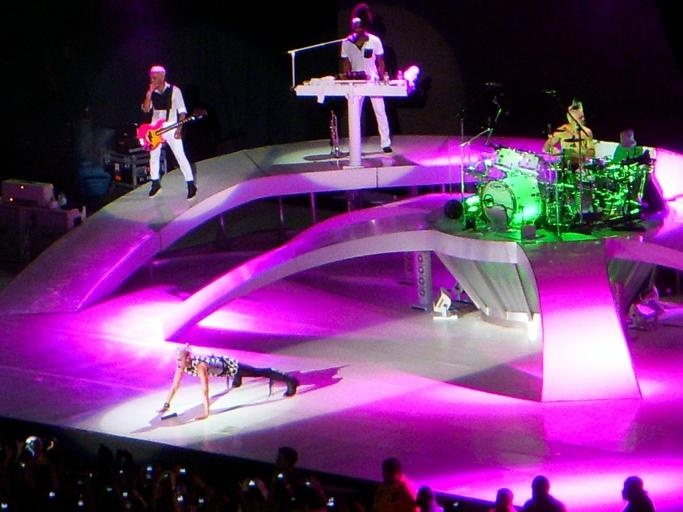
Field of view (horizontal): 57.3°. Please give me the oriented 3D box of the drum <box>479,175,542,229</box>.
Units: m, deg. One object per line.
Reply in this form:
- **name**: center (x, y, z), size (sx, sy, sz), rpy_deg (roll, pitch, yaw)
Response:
- **drum**: center (2.827, -0.956, 10.323), size (0.822, 0.931, 0.857), rpy_deg (14, 25, 36)

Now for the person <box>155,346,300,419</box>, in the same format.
- **person**: center (-1.510, 1.665, 8.697), size (1.609, 0.820, 0.905), rpy_deg (4, -6, -44)

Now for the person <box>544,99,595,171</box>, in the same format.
- **person**: center (3.978, -2.080, 10.842), size (0.787, 1.182, 0.663), rpy_deg (3, 27, 13)

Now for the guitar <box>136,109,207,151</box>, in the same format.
- **guitar**: center (-3.636, -2.687, 13.192), size (1.655, 0.630, 0.259), rpy_deg (-14, -1, -2)

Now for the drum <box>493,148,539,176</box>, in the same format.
- **drum**: center (2.905, -1.570, 10.322), size (0.545, 0.364, 0.440), rpy_deg (4, 14, 11)

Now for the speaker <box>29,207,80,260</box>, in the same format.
- **speaker**: center (-5.921, -0.469, 12.878), size (1.262, 0.885, 0.962), rpy_deg (-1, 13, 5)

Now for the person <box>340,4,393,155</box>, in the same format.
- **person**: center (0.654, -3.453, 13.142), size (0.852, 3.373, 0.816), rpy_deg (18, 28, 35)

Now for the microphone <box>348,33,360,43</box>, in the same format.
- **microphone**: center (0.274, -4.434, 12.662), size (0.191, 0.051, 0.188), rpy_deg (-24, 27, -33)

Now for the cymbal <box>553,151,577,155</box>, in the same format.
- **cymbal**: center (3.653, -1.687, 10.277), size (0.177, 0.042, 0.187), rpy_deg (0, 2, -9)
